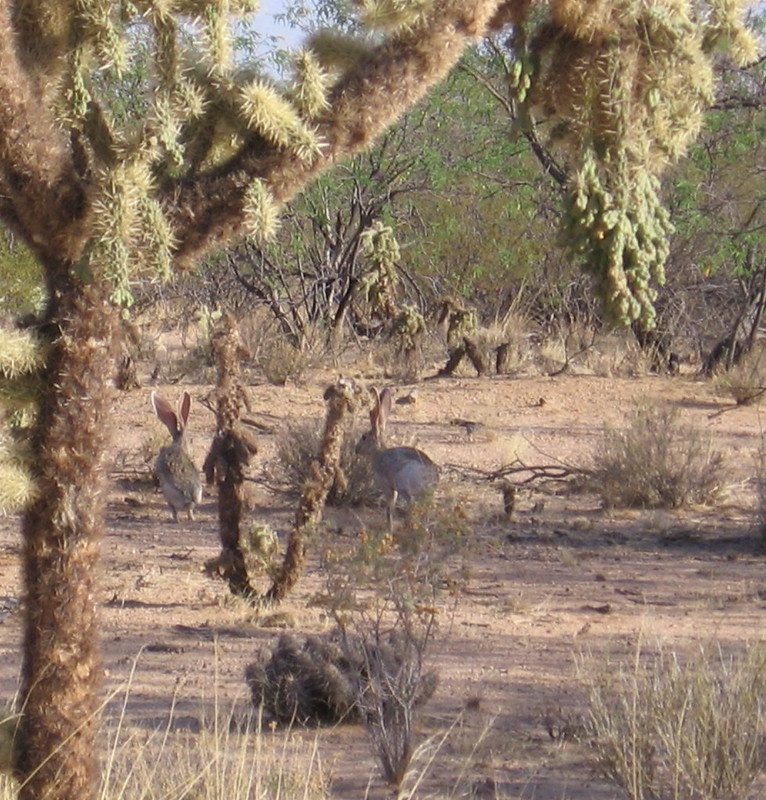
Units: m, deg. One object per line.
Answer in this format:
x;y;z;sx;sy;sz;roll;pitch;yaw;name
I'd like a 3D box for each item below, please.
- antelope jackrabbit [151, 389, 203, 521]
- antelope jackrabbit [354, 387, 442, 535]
-1.450;0.423;10.904;0.285;1.095;0.734;-5;33;-10;antelope jackrabbit
0.077;0.400;10.799;0.675;0.938;0.227;10;14;40;antelope jackrabbit
